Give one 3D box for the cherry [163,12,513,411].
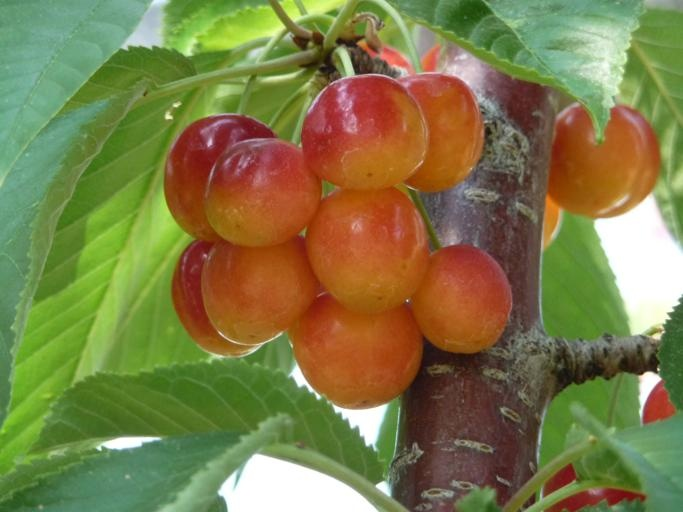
[{"bbox_3d":[-0.021,-0.031,1.111,0.372,0.526,0.462,-2,4,-19],"label":"cherry"}]
